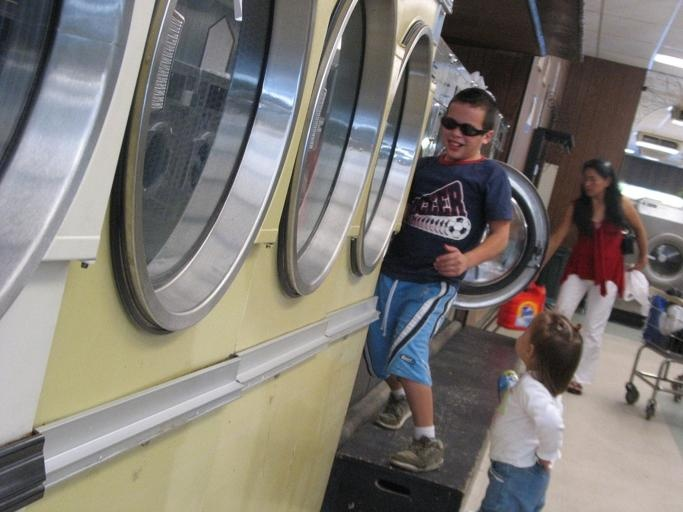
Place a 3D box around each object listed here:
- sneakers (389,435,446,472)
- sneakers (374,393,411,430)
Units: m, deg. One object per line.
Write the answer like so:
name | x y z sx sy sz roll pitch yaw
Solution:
sneakers | 0.319 0.784 1.949 0.246 0.130 0.098 3 -5 -37
sneakers | 0.240 0.734 2.269 0.082 0.120 0.238 -3 0 21
